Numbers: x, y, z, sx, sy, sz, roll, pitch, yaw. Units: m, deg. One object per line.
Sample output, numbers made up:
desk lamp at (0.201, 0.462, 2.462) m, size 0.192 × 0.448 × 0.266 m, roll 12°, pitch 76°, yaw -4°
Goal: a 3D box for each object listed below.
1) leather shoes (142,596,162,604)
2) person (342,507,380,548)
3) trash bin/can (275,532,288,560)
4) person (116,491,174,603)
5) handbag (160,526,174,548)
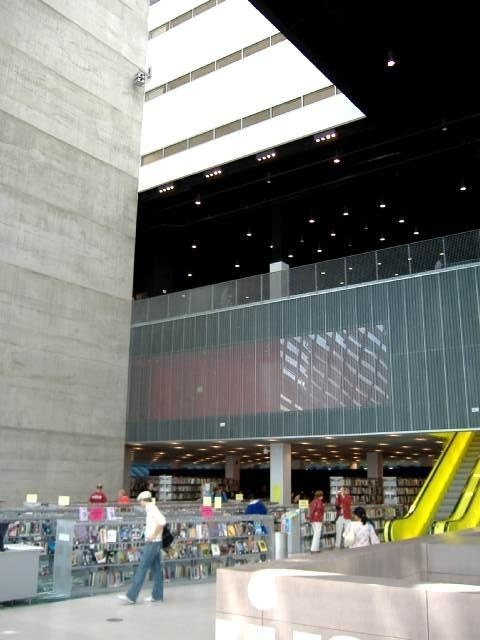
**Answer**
leather shoes at (-1.227, 3.824, 6.644) m, size 0.268 × 0.118 × 0.097 m, roll 4°, pitch -24°, yaw 15°
person at (2.027, 3.699, 8.199) m, size 0.542 × 1.154 × 0.373 m, roll 2°, pitch 14°, yaw 7°
trash bin/can at (0.530, 2.987, 6.408) m, size 0.168 × 0.336 × 0.245 m, roll 1°, pitch -13°, yaw 4°
person at (-1.229, 3.128, 6.677) m, size 0.622 × 1.440 × 0.550 m, roll -1°, pitch -13°, yaw 9°
handbag at (-1.012, 2.994, 6.783) m, size 0.109 × 0.306 × 0.388 m, roll -11°, pitch 2°, yaw -21°
